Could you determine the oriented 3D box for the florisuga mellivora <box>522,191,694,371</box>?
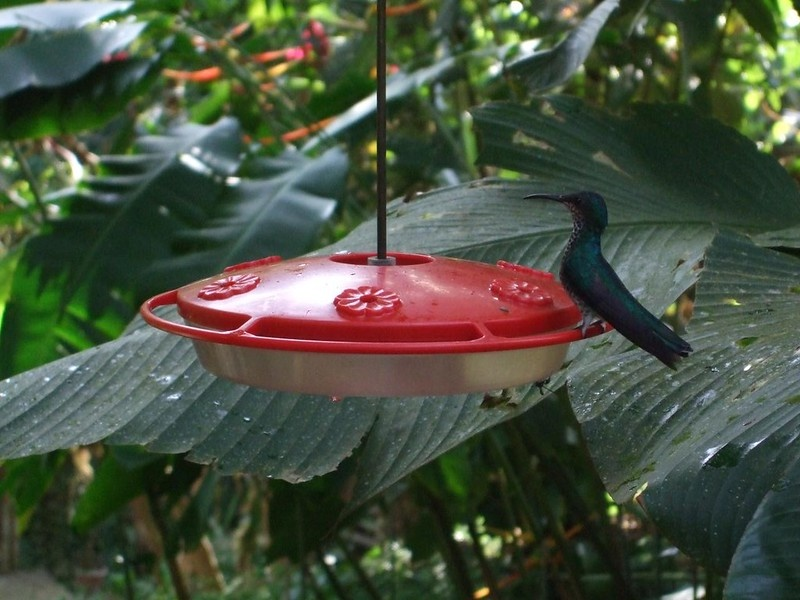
[{"bbox_3d":[0.419,-0.056,1.937,0.376,0.297,0.124,18,28,27],"label":"florisuga mellivora"}]
